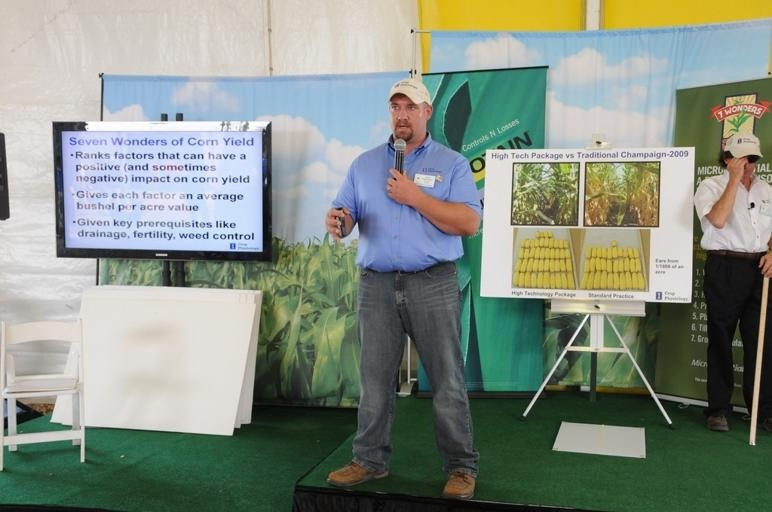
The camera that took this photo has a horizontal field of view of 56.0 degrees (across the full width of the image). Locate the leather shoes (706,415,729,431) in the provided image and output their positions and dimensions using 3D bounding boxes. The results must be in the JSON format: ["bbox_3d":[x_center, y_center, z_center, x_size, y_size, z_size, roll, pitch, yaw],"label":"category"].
[{"bbox_3d":[2.842,1.416,6.189,0.098,0.090,0.194,-1,-7,8],"label":"leather shoes"}]

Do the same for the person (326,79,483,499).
[{"bbox_3d":[0.096,0.204,5.206,1.107,2.978,0.938,2,1,21],"label":"person"}]

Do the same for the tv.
[{"bbox_3d":[-2.016,-0.588,6.550,1.968,1.215,0.253,0,13,3],"label":"tv"}]

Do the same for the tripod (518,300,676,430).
[{"bbox_3d":[1.900,0.986,6.665,1.319,1.233,1.039,0,-7,7],"label":"tripod"}]

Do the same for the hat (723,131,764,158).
[{"bbox_3d":[3.008,-0.927,6.085,0.271,0.201,0.234,4,15,20],"label":"hat"}]

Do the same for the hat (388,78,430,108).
[{"bbox_3d":[0.164,-1.142,5.093,0.278,0.181,0.200,-5,15,-19],"label":"hat"}]

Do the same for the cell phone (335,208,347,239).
[{"bbox_3d":[-0.298,-0.223,5.072,0.056,0.170,0.101,1,-1,9],"label":"cell phone"}]

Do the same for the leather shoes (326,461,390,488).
[{"bbox_3d":[-0.198,1.559,5.205,0.421,0.205,0.176,4,-6,-12],"label":"leather shoes"}]
